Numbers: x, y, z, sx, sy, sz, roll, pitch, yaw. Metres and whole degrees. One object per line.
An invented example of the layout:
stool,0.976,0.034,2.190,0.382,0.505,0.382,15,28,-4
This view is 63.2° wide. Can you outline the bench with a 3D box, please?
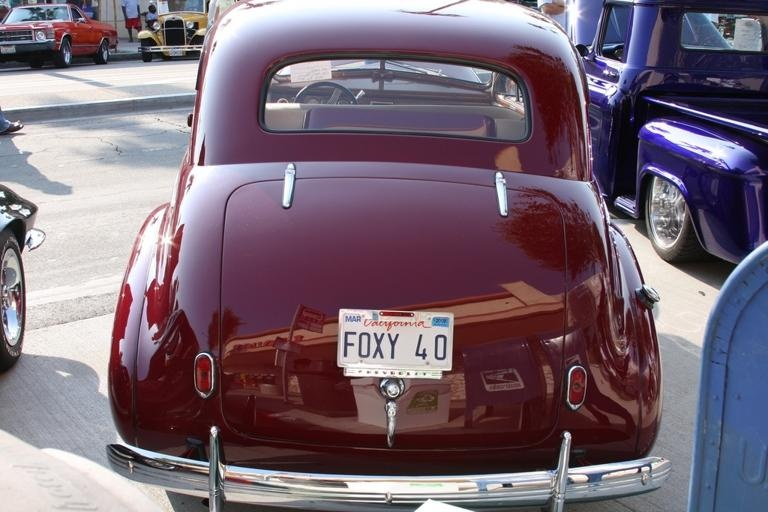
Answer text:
bench,0.047,-0.680,3.412,1.047,0.165,0.216,6,44,14
